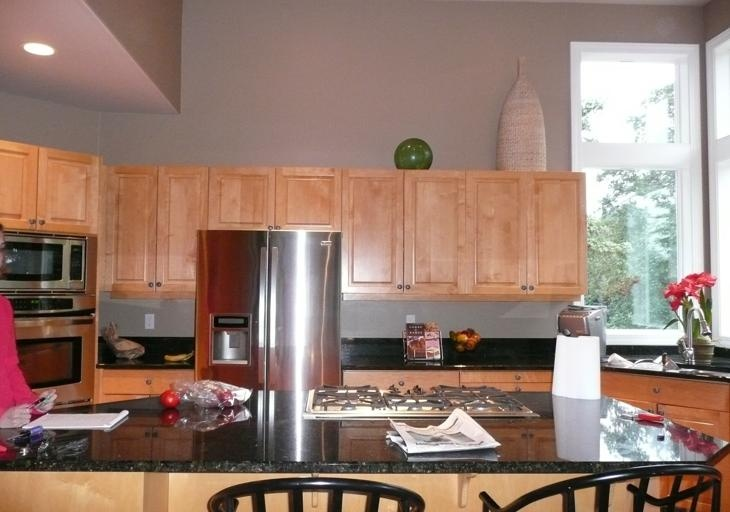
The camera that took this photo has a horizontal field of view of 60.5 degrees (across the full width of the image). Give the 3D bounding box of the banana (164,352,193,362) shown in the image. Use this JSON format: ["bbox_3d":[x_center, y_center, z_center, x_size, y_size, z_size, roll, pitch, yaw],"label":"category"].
[{"bbox_3d":[-1.506,0.817,5.049,0.151,0.048,0.086,8,-9,-8],"label":"banana"}]

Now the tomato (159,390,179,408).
[{"bbox_3d":[-1.058,0.770,3.385,0.096,0.088,0.097,-2,4,-16],"label":"tomato"}]

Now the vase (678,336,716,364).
[{"bbox_3d":[2.657,0.746,4.994,0.237,0.146,0.223,1,-8,0],"label":"vase"}]

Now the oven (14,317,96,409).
[{"bbox_3d":[-2.503,0.818,4.762,0.555,0.714,0.608,-7,-7,32],"label":"oven"}]

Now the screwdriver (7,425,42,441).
[{"bbox_3d":[-1.639,0.851,3.047,0.151,0.045,0.091,-1,0,0],"label":"screwdriver"}]

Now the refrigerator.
[{"bbox_3d":[-0.724,0.407,4.735,1.294,1.732,0.590,0,-3,-2],"label":"refrigerator"}]
